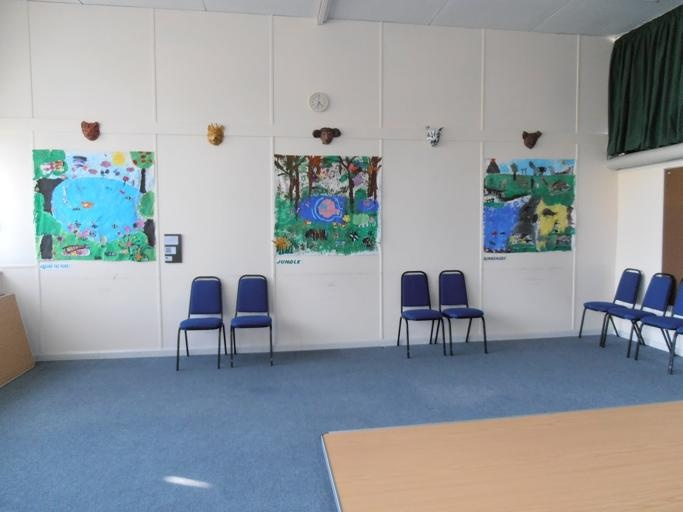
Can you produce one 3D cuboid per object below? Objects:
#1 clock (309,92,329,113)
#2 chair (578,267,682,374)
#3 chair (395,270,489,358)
[{"bbox_3d":[-0.300,-2.055,6.808,0.270,0.260,0.077,-1,14,-3],"label":"clock"},{"bbox_3d":[3.966,0.768,6.920,0.844,1.102,1.298,-3,14,-10],"label":"chair"},{"bbox_3d":[1.343,0.775,6.968,1.148,1.040,0.649,-2,14,-7],"label":"chair"}]
